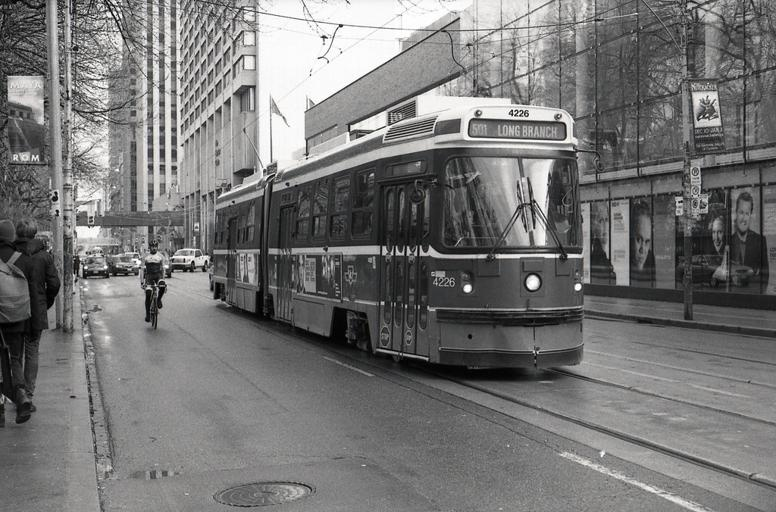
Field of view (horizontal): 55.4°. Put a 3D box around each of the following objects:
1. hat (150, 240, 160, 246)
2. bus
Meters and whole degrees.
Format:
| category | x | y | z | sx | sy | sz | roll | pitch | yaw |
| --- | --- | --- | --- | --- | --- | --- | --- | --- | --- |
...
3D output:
| category | x | y | z | sx | sy | sz | roll | pitch | yaw |
| --- | --- | --- | --- | --- | --- | --- | --- | --- | --- |
| hat | -6.579 | -0.384 | 20.732 | 0.262 | 0.141 | 0.390 | 1 | -2 | -19 |
| bus | -1.926 | -0.403 | 20.594 | 3.059 | 5.453 | 17.765 | -2 | 0 | -30 |
